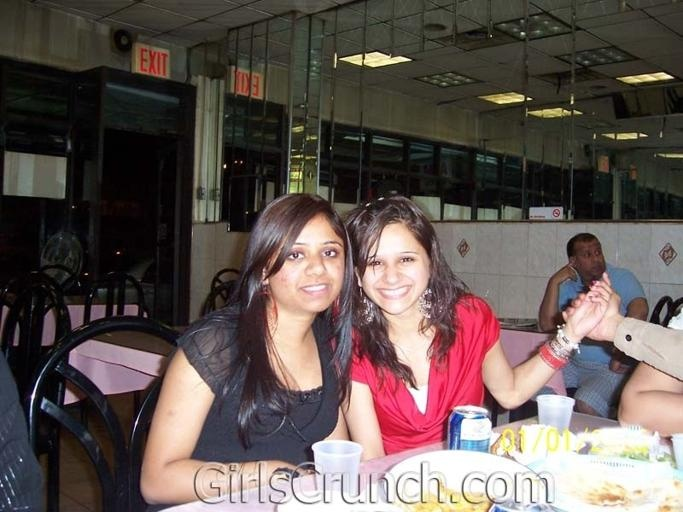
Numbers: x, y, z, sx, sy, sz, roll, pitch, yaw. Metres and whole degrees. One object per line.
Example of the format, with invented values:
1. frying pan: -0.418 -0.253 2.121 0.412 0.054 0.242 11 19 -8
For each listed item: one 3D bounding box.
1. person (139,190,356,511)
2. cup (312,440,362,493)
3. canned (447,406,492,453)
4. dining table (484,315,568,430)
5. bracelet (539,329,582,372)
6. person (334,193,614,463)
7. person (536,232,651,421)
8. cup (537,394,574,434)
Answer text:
1. person: -0.138 0.416 2.039 0.754 1.229 0.746 -12 -23 43
2. cup: -0.009 0.496 1.257 0.110 0.110 0.136 2 4 -8
3. canned: 0.342 0.463 1.498 0.105 0.132 0.110 1 -4 -8
4. dining table: 1.048 0.613 3.099 0.518 0.278 0.514 -15 15 -37
5. bracelet: 0.742 0.327 1.862 0.080 0.112 0.150 -45 -1 -32
6. person: 0.657 0.285 2.363 1.107 1.339 0.331 -12 3 -31
7. person: 1.557 0.611 3.415 0.581 1.528 0.851 1 0 9
8. cup: 0.621 0.448 1.568 0.093 0.080 0.089 1 4 0
